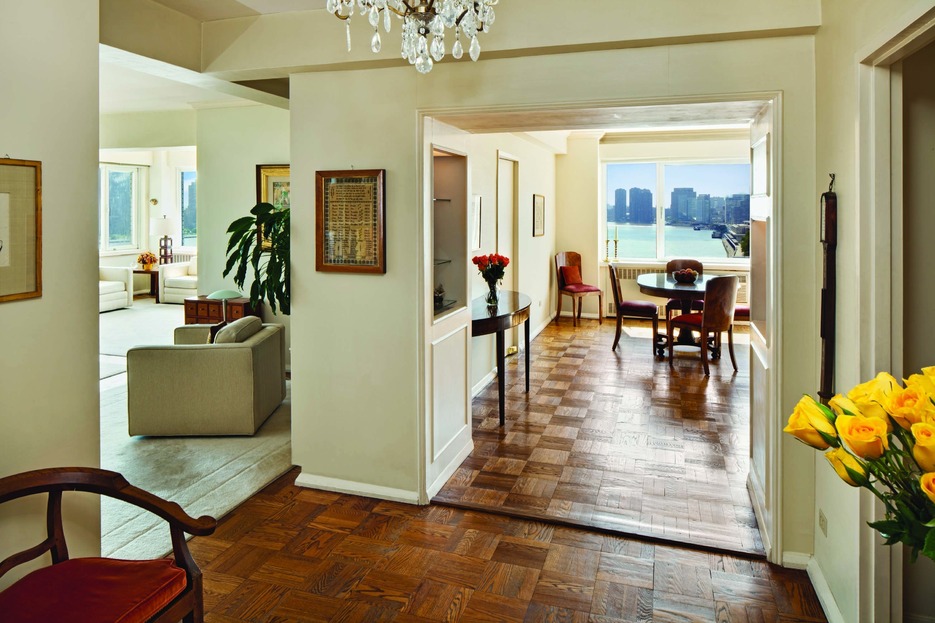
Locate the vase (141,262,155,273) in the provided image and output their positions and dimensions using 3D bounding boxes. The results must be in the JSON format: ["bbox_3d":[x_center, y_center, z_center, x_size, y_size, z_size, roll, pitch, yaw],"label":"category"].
[{"bbox_3d":[-5.741,-0.782,11.810,0.176,0.137,0.167,-6,9,-43],"label":"vase"}]

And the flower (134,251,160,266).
[{"bbox_3d":[-5.820,-0.943,11.926,0.302,0.224,0.313,2,3,38],"label":"flower"}]

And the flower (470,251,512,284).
[{"bbox_3d":[0.212,-0.408,6.174,0.297,0.320,0.300,4,8,42],"label":"flower"}]

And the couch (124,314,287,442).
[{"bbox_3d":[-2.337,0.504,6.003,1.148,0.963,1.275,3,9,8],"label":"couch"}]

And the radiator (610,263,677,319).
[{"bbox_3d":[2.356,-0.294,8.808,0.766,0.727,0.091,2,5,30],"label":"radiator"}]

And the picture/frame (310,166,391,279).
[{"bbox_3d":[-0.785,-0.624,4.506,0.688,1.030,0.096,1,5,14],"label":"picture/frame"}]

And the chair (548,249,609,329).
[{"bbox_3d":[1.589,-0.341,9.616,0.520,1.016,0.633,-5,9,-21],"label":"chair"}]

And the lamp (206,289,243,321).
[{"bbox_3d":[-2.665,-0.137,7.160,0.359,0.409,0.378,4,10,15],"label":"lamp"}]

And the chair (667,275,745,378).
[{"bbox_3d":[2.582,0.119,7.206,0.755,1.064,0.576,6,15,24],"label":"chair"}]

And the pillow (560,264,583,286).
[{"bbox_3d":[1.496,-0.517,9.622,0.309,0.293,0.093,-2,-17,-40],"label":"pillow"}]

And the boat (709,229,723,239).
[{"bbox_3d":[3.753,-1.168,9.979,0.178,0.137,0.104,3,12,16],"label":"boat"}]

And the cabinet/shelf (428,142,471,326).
[{"bbox_3d":[-0.135,-0.622,5.091,0.256,1.113,0.363,0,13,2],"label":"cabinet/shelf"}]

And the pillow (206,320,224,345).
[{"bbox_3d":[-2.359,0.197,6.124,0.070,0.185,0.177,13,-21,-15],"label":"pillow"}]

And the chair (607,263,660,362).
[{"bbox_3d":[2.159,-0.080,8.462,0.736,1.067,0.771,-7,8,-39],"label":"chair"}]
